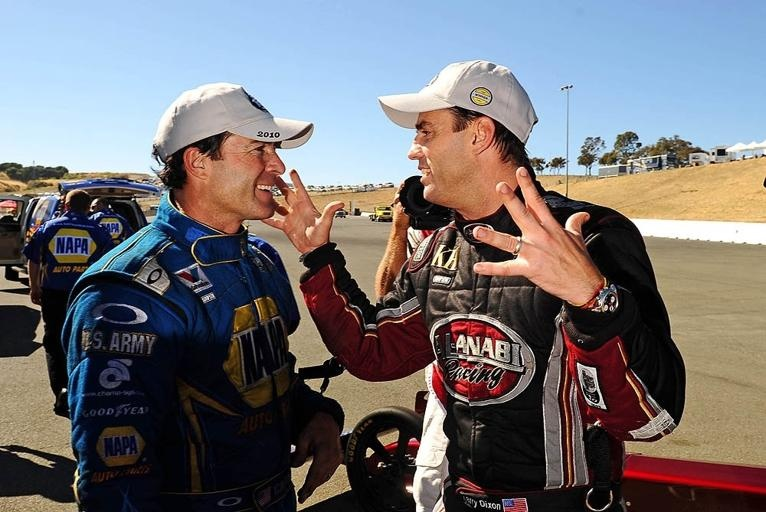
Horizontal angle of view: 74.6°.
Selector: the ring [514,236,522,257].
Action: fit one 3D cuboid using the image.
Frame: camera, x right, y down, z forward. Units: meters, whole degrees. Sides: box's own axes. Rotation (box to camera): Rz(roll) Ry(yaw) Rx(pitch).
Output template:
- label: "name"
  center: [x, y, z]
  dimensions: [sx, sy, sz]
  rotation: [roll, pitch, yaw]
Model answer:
- label: "ring"
  center: [0.500, -0.031, 1.889]
  dimensions: [0.020, 0.051, 0.051]
  rotation: [15, 26, -1]
